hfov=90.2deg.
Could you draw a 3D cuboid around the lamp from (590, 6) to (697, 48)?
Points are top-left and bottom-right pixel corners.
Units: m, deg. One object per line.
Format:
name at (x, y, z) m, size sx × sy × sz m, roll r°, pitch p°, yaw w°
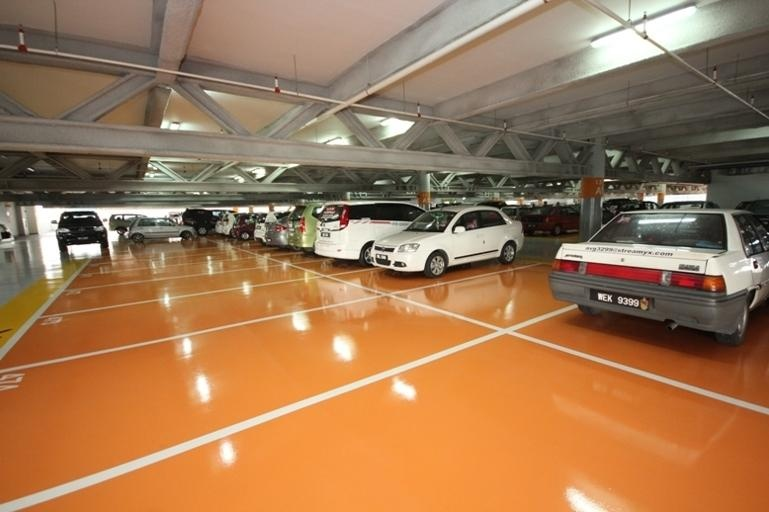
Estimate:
lamp at (4.830, -4.326, 7.127) m, size 1.621 × 0.391 × 0.596 m, roll 7°, pitch 13°, yaw 41°
